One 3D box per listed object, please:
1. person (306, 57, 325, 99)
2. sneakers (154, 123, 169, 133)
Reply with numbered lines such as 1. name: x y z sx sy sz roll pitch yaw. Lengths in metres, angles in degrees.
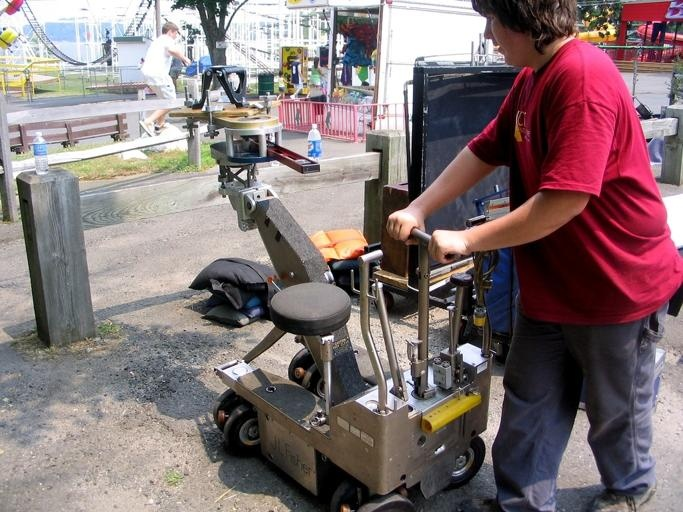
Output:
1. person: -0.757 -5.372 16.255 0.514 1.001 0.838 -3 19 -1
2. sneakers: -3.856 -2.768 11.259 0.292 0.172 0.399 -8 19 -14
